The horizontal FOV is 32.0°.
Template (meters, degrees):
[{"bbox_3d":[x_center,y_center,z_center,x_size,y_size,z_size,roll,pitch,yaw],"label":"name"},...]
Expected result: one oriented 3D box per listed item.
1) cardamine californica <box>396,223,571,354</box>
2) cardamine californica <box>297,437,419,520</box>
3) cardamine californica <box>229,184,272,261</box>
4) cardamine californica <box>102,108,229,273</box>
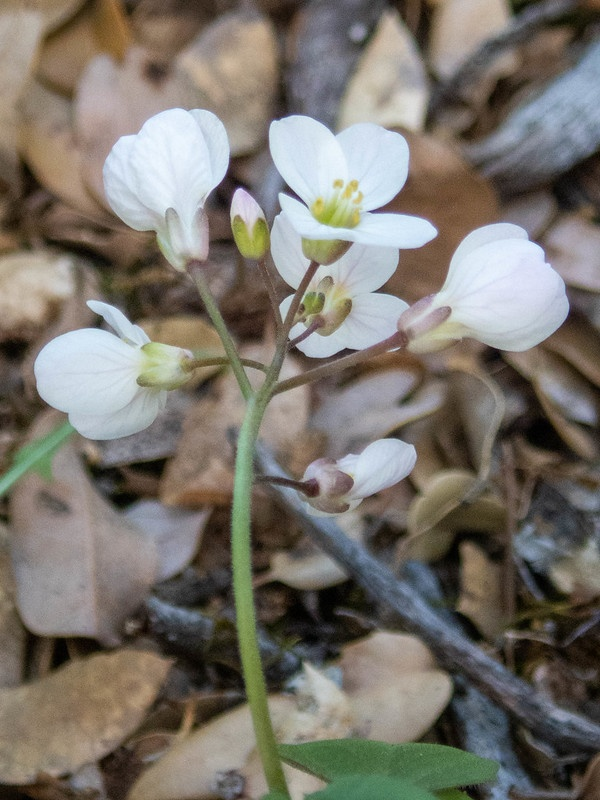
[{"bbox_3d":[0.212,-0.120,1.222,0.195,0.112,0.101,2,62,10],"label":"cardamine californica"},{"bbox_3d":[0.078,0.098,1.310,0.173,0.073,0.067,-9,105,0],"label":"cardamine californica"},{"bbox_3d":[-0.055,-0.210,1.241,0.051,0.031,0.083,-18,96,32],"label":"cardamine californica"},{"bbox_3d":[-0.162,-0.266,1.268,0.135,0.144,0.170,16,65,17],"label":"cardamine californica"}]
